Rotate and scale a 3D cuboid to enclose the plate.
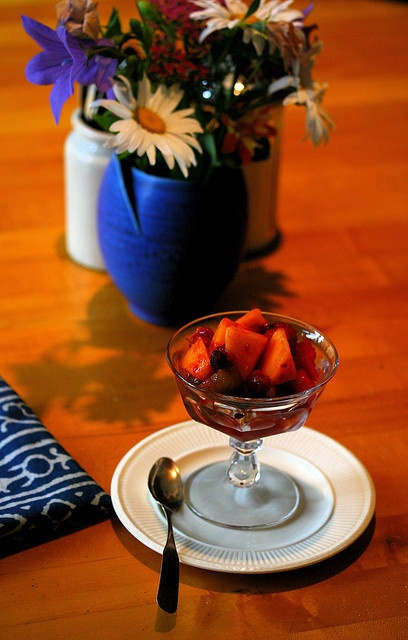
[{"bbox_3d":[0.023,0.138,0.478,0.190,0.017,0.182,5,20,-11],"label":"plate"}]

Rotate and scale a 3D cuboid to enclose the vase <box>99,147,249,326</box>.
[{"bbox_3d":[-0.033,-0.116,0.752,0.195,0.204,0.179,-9,32,-25],"label":"vase"}]

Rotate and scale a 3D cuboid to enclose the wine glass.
[{"bbox_3d":[0.026,0.075,0.469,0.144,0.144,0.141,15,23,35],"label":"wine glass"}]
